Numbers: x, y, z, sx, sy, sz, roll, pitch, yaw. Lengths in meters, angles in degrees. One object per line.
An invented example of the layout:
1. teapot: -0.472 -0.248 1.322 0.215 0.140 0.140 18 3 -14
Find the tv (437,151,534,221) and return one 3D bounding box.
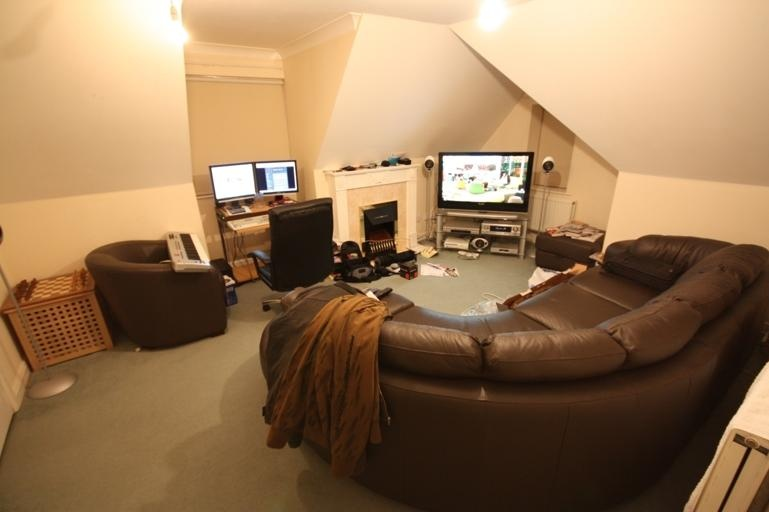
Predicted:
1. tv: 1.269 -0.955 6.290 1.181 0.782 0.234 6 16 21

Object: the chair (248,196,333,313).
1. chair: -0.954 -0.072 4.792 0.615 0.997 0.636 -8 20 -33

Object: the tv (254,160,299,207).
1. tv: -1.269 -0.872 5.724 0.571 0.477 0.124 -9 20 -37

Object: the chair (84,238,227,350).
1. chair: -2.176 0.303 4.642 1.184 0.992 0.937 -19 44 -40

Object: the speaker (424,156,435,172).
1. speaker: 0.610 -1.266 6.661 0.147 0.224 0.446 1 15 5

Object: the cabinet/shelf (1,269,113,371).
1. cabinet/shelf: -2.921 0.571 4.565 0.803 0.807 0.795 9 31 24

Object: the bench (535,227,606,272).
1. bench: 2.148 -0.104 5.689 0.592 0.394 0.581 -19 28 -37

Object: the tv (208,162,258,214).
1. tv: -1.689 -0.843 5.453 0.493 0.400 0.066 -11 19 -36

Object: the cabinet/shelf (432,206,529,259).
1. cabinet/shelf: 1.276 -0.329 6.421 1.514 0.615 0.660 3 16 5

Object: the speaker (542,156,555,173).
1. speaker: 2.069 -1.149 6.139 0.128 0.216 0.463 5 16 20

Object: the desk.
1. desk: -1.557 -0.306 5.989 1.171 1.070 0.949 -4 18 -32
